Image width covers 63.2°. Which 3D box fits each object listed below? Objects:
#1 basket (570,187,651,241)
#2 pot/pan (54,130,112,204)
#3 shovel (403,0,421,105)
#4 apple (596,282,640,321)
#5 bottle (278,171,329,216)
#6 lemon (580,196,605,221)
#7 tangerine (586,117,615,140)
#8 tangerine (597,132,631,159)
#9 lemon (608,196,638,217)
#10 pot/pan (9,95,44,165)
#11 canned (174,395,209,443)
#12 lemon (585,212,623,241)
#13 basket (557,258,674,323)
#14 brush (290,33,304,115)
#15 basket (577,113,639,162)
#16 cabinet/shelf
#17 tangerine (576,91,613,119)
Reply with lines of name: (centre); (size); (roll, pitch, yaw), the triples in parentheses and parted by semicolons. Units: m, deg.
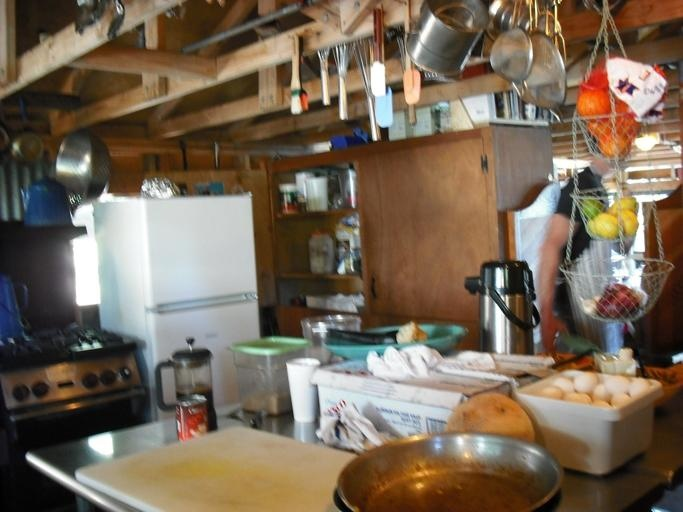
basket: (0.892, -0.111, 1.845); (0.194, 0.129, 0.207); (0, -2, -28)
pot/pan: (-1.566, -0.537, 3.350); (0.336, 0.402, 0.159); (-3, 4, 32)
shovel: (0.318, -0.952, 2.598); (0.074, 0.490, 0.472); (-5, 4, 8)
apple: (0.856, 0.142, 1.706); (0.089, 0.041, 0.112); (-5, 18, -7)
bottle: (-0.329, -0.525, 4.636); (0.259, 0.300, 0.422); (-9, 11, -44)
lemon: (0.842, -0.160, 1.857); (0.069, 0.044, 0.052); (25, -45, -32)
tangerine: (0.801, -0.394, 1.716); (0.056, 0.061, 0.053); (-5, 5, 10)
tangerine: (0.835, -0.338, 1.698); (0.082, 0.061, 0.078); (1, 4, 39)
lemon: (0.923, -0.161, 1.816); (0.081, 0.048, 0.052); (-30, 17, -32)
pot/pan: (-2.582, -1.063, 4.506); (0.239, 0.543, 0.888); (-7, 5, -28)
canned: (-0.452, 0.487, 1.704); (0.110, 0.192, 0.117); (-1, -4, -10)
lemon: (0.853, -0.095, 1.806); (0.088, 0.091, 0.091); (-4, 4, 21)
basket: (1.005, 0.120, 2.054); (0.317, 0.162, 0.319); (-9, 5, -19)
brush: (-0.247, -0.988, 3.004); (0.075, 0.296, 0.270); (-5, 4, -2)
basket: (0.844, -0.366, 1.747); (0.142, 0.112, 0.146); (-3, 1, 0)
cabinet/shelf: (-0.042, -0.128, 3.577); (1.834, 1.242, 0.360); (-1, -4, 41)
tangerine: (0.782, -0.470, 1.718); (0.082, 0.081, 0.085); (2, 9, 32)
